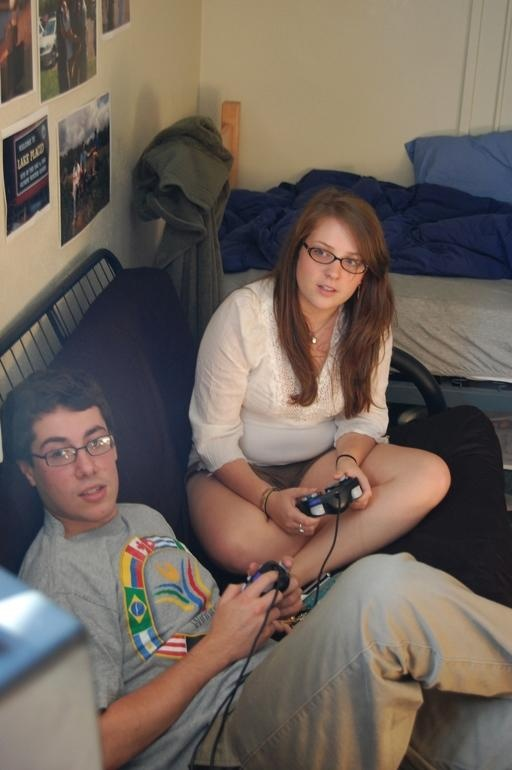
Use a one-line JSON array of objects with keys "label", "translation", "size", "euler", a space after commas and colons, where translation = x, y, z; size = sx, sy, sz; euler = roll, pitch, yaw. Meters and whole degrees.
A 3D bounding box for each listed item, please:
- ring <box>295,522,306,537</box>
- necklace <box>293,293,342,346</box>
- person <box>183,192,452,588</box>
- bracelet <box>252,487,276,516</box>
[{"label": "ring", "translation": [0.107, 0.349, 1.481], "size": [0.024, 0.039, 0.038], "euler": [1, 9, 9]}, {"label": "necklace", "translation": [0.174, -0.174, 1.687], "size": [0.093, 0.134, 0.085], "euler": [1, 31, 0]}, {"label": "person", "translation": [0.158, 0.016, 1.594], "size": [0.683, 0.954, 0.743], "euler": [17, 22, 25]}, {"label": "bracelet", "translation": [0.022, 0.288, 1.539], "size": [0.025, 0.057, 0.066], "euler": [8, 52, 5]}]
